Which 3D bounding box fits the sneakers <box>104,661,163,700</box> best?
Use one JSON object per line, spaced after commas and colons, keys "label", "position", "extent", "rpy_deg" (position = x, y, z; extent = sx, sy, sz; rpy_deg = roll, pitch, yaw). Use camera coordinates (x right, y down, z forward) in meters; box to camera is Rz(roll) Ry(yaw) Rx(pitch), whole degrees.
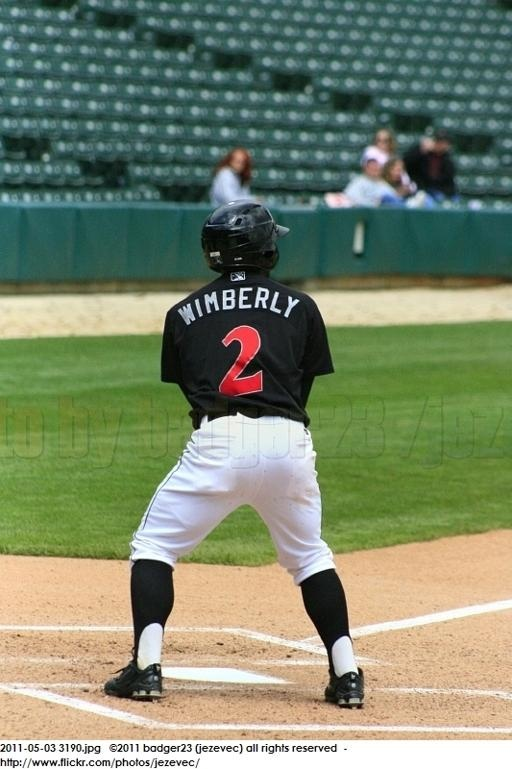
{"label": "sneakers", "position": [-0.334, 0.852, 3.466], "extent": [0.205, 0.096, 0.074], "rpy_deg": [-8, -27, 32]}

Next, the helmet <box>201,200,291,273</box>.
{"label": "helmet", "position": [-0.015, -0.450, 3.686], "extent": [0.260, 0.179, 0.182], "rpy_deg": [-5, 12, -32]}

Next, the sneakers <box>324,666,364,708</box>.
{"label": "sneakers", "position": [0.263, 0.873, 3.474], "extent": [0.060, 0.064, 0.154], "rpy_deg": [0, -5, -2]}

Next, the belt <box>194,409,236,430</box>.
{"label": "belt", "position": [-0.127, 0.102, 3.484], "extent": [0.087, 0.037, 0.062], "rpy_deg": [1, 3, 28]}

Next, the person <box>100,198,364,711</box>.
{"label": "person", "position": [-0.020, 0.292, 3.529], "extent": [0.727, 1.226, 0.350], "rpy_deg": [4, 7, -6]}

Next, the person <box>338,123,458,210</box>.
{"label": "person", "position": [1.249, -1.770, 10.023], "extent": [0.783, 0.586, 1.093], "rpy_deg": [-1, 7, 8]}
